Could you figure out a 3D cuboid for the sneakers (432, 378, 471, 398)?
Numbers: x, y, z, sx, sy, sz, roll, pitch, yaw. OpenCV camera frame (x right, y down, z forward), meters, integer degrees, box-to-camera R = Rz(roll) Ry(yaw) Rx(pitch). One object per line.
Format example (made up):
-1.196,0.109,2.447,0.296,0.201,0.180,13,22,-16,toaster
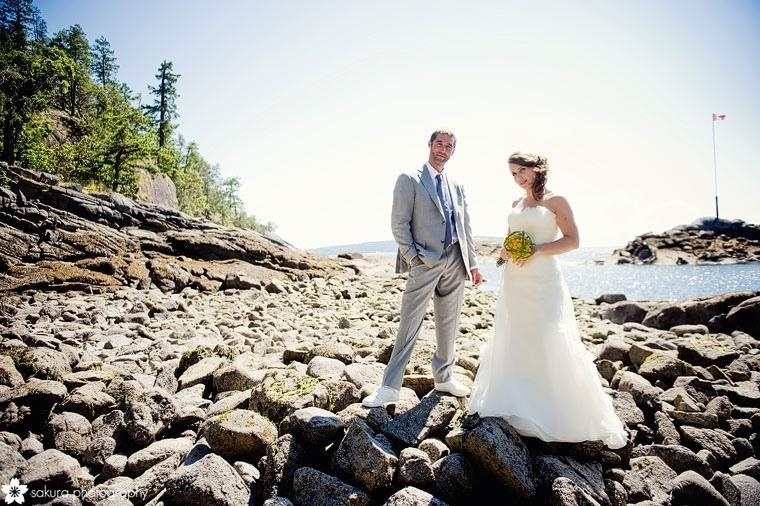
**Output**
1.031,1.951,6.644,0.487,0.203,0.260,3,3,-7,sneakers

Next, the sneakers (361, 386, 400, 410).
0.018,1.923,6.157,0.559,0.231,0.205,3,-7,-27,sneakers

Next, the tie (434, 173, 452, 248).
0.909,-0.608,6.591,0.130,0.993,0.223,-8,5,2,tie
